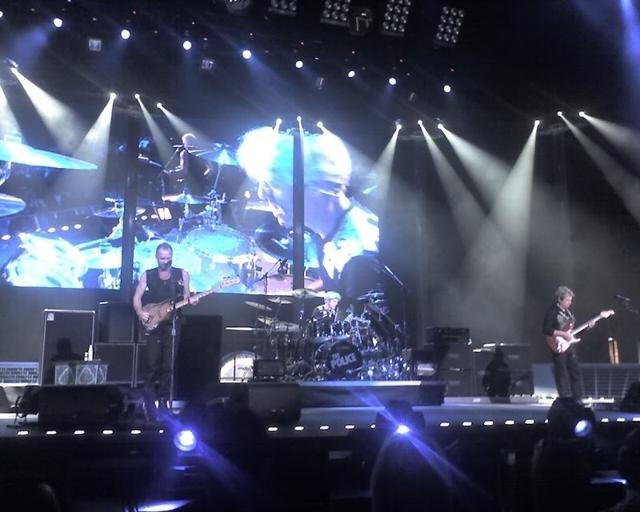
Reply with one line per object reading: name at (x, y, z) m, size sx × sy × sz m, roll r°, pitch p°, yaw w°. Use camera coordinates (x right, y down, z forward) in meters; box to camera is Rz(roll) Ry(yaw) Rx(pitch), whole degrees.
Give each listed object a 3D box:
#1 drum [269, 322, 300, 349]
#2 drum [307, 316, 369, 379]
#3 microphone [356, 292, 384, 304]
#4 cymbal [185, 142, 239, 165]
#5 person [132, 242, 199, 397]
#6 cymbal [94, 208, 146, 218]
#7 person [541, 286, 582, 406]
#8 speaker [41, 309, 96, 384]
drum at (-0.525, 1.149, 9.039) m, size 0.370 × 0.137 × 0.380 m, roll 15°, pitch -1°, yaw 0°
drum at (0.281, 1.360, 8.974) m, size 0.587 × 0.828 × 0.788 m, roll -14°, pitch -10°, yaw -15°
microphone at (0.827, 0.679, 9.933) m, size 0.307 × 0.109 × 0.316 m, roll 3°, pitch 0°, yaw 0°
cymbal at (-1.817, -1.789, 10.637) m, size 0.513 × 0.129 × 0.529 m, roll 20°, pitch 25°, yaw -8°
person at (-1.645, 0.648, 6.486) m, size 0.504 × 1.652 × 0.840 m, roll 8°, pitch -13°, yaw -33°
cymbal at (-3.270, -0.702, 10.032) m, size 0.792 × 0.204 × 0.038 m, roll 3°, pitch -11°, yaw -13°
person at (3.245, 1.140, 8.268) m, size 0.421 × 1.481 × 0.669 m, roll -4°, pitch -11°, yaw 23°
speaker at (-3.347, 1.213, 8.152) m, size 0.735 × 1.416 × 0.782 m, roll 3°, pitch -16°, yaw -19°
